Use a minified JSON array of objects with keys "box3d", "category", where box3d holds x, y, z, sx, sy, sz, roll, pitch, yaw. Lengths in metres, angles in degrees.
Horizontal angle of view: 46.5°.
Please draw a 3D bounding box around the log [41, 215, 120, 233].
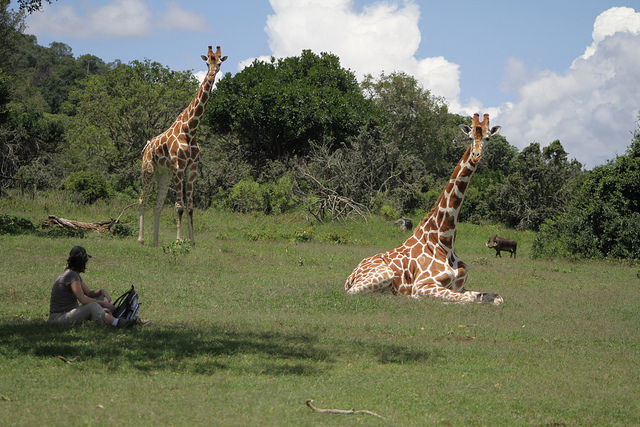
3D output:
[{"box3d":[-8.707,0.423,26.830,2.048,0.661,0.987,-1,1,-18],"category":"log"}]
